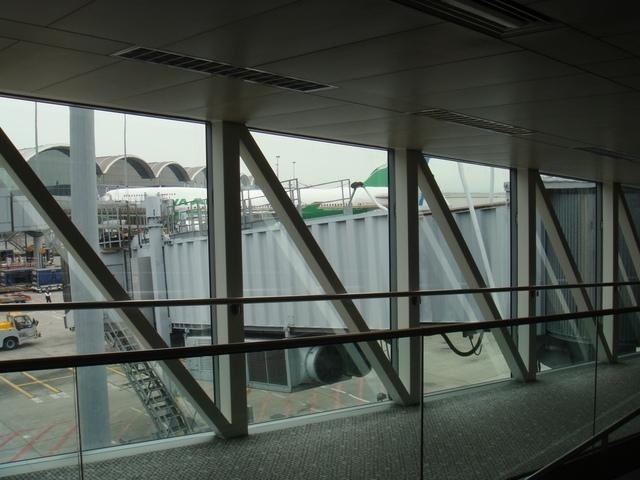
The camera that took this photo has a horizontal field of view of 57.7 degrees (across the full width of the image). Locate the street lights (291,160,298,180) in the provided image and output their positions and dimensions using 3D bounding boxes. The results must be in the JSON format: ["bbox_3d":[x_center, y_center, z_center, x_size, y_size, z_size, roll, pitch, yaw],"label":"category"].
[{"bbox_3d":[-0.341,-0.937,7.756,0.069,0.233,0.123,8,6,15],"label":"street lights"}]
